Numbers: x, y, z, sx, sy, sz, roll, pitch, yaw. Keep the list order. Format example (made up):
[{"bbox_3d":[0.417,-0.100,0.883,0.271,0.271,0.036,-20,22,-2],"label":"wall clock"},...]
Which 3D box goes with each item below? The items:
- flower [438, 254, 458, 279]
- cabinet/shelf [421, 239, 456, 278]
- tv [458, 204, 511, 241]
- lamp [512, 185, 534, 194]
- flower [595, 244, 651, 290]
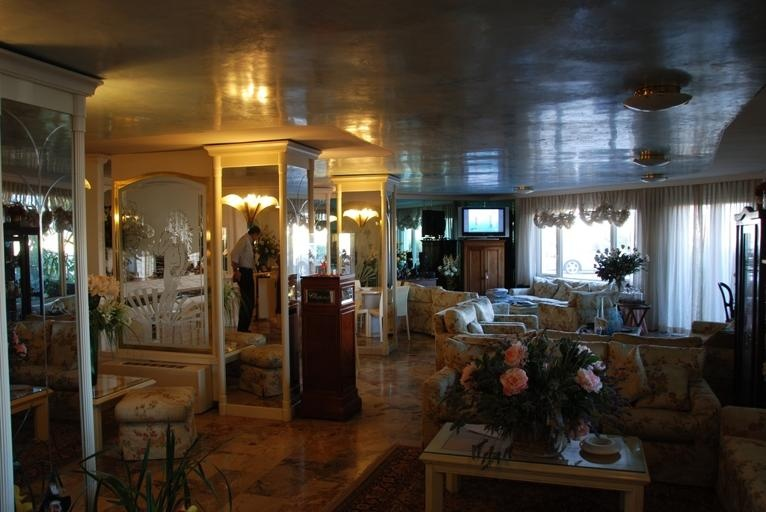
[{"bbox_3d":[1.541,0.213,13.653,0.544,0.644,0.534,-2,-1,26],"label":"flower"},{"bbox_3d":[1.228,0.174,13.608,1.213,1.038,0.423,-3,0,-42],"label":"cabinet/shelf"},{"bbox_3d":[2.384,-0.778,13.429,0.960,0.570,0.089,0,-1,-1],"label":"tv"},{"bbox_3d":[2.791,-1.334,11.226,0.338,0.129,0.490,0,10,8],"label":"lamp"},{"bbox_3d":[4.515,0.236,10.524,0.818,0.711,0.880,-7,7,-17],"label":"flower"}]
